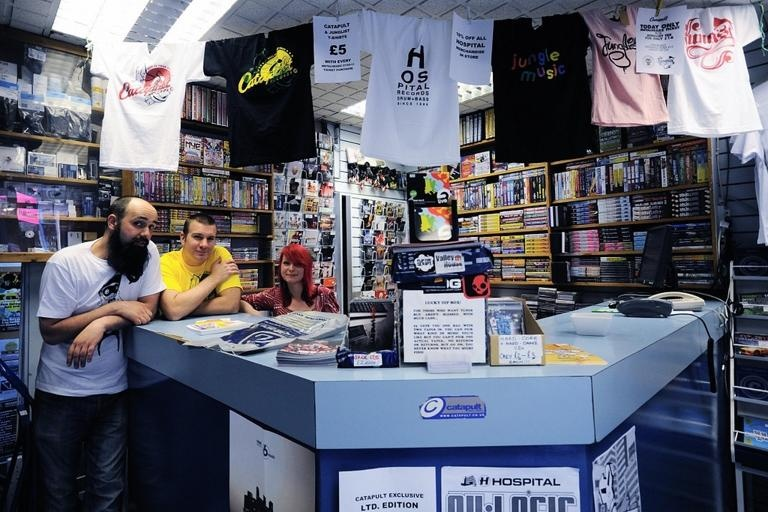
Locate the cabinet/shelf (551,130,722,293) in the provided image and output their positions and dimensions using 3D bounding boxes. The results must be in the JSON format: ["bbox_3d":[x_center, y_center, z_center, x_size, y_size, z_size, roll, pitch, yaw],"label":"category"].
[{"bbox_3d":[2.558,-0.435,5.459,1.792,1.437,0.572,0,3,41],"label":"cabinet/shelf"}]

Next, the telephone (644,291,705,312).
[{"bbox_3d":[2.144,0.333,4.053,0.314,0.107,0.218,-4,2,21],"label":"telephone"}]

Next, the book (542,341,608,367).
[{"bbox_3d":[1.055,0.537,3.052,0.319,0.074,0.419,4,14,18],"label":"book"}]

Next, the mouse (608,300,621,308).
[{"bbox_3d":[1.778,0.376,4.270,0.062,0.040,0.063,-2,-5,-9],"label":"mouse"}]

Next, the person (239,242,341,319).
[{"bbox_3d":[-0.722,0.264,4.786,1.022,0.676,0.402,1,-2,16],"label":"person"}]
